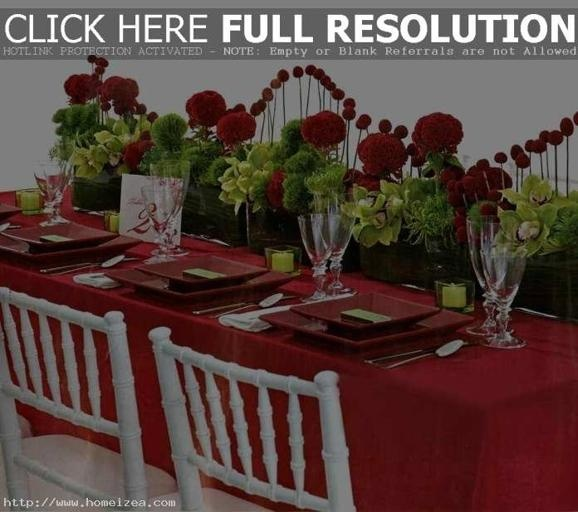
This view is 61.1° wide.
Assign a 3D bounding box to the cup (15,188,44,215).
[{"bbox_3d":[-1.378,-0.285,2.605,0.141,0.146,0.146,4,13,-1],"label":"cup"}]

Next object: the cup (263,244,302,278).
[{"bbox_3d":[-0.020,0.014,1.555,0.092,0.091,0.093,1,-1,0],"label":"cup"}]

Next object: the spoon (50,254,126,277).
[{"bbox_3d":[-0.681,0.033,1.645,0.212,0.030,0.040,-11,9,-37],"label":"spoon"}]

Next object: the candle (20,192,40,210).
[{"bbox_3d":[-1.413,-0.300,2.648,0.112,0.090,0.115,2,7,-10],"label":"candle"}]

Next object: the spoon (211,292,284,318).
[{"bbox_3d":[-0.108,0.122,1.219,0.111,0.016,0.024,-19,21,-35],"label":"spoon"}]

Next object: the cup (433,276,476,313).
[{"bbox_3d":[0.404,0.089,1.195,0.079,0.078,0.080,0,1,0],"label":"cup"}]

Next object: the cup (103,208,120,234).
[{"bbox_3d":[-0.784,-0.155,2.173,0.089,0.098,0.092,6,7,-1],"label":"cup"}]

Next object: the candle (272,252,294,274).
[{"bbox_3d":[-0.018,0.018,1.530,0.060,0.064,0.063,4,12,13],"label":"candle"}]
